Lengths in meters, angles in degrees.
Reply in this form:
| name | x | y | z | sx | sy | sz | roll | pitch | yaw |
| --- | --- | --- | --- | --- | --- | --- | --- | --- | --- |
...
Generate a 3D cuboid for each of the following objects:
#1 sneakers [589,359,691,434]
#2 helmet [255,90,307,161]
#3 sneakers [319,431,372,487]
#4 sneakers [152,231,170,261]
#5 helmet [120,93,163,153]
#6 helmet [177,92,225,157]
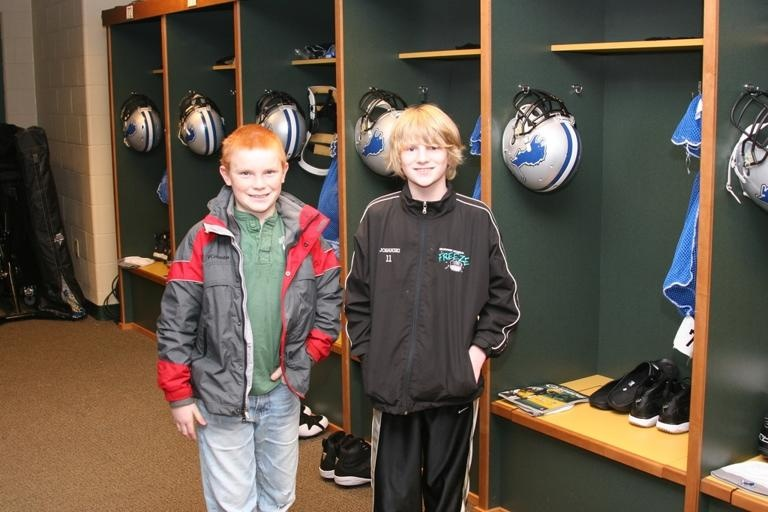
| name | x | y | z | sx | sy | sz | roll | pitch | yaw |
| --- | --- | --- | --- | --- | --- | --- | --- | --- | --- |
| sneakers | 1.244 | 0.662 | 2.700 | 0.285 | 0.122 | 0.390 | -13 | 9 | 47 |
| helmet | -0.725 | -0.949 | 4.156 | 0.373 | 0.463 | 0.497 | -1 | 10 | -22 |
| sneakers | -0.209 | 1.114 | 3.172 | 0.177 | 0.141 | 0.318 | 4 | 3 | 34 |
| sneakers | -2.135 | -0.091 | 5.485 | 0.169 | 0.307 | 0.224 | -5 | 11 | -35 |
| helmet | -2.258 | -1.204 | 5.361 | 0.385 | 0.596 | 0.317 | -9 | 10 | -23 |
| helmet | -1.476 | -1.067 | 4.760 | 0.371 | 0.489 | 0.429 | -18 | 8 | -11 |
